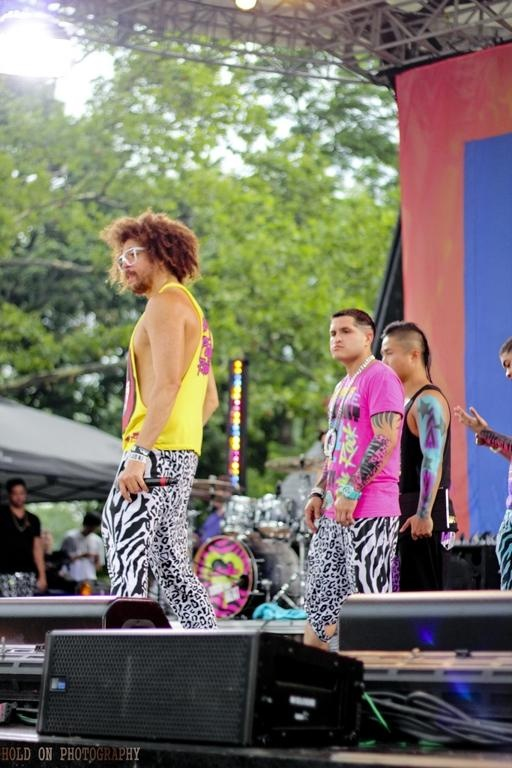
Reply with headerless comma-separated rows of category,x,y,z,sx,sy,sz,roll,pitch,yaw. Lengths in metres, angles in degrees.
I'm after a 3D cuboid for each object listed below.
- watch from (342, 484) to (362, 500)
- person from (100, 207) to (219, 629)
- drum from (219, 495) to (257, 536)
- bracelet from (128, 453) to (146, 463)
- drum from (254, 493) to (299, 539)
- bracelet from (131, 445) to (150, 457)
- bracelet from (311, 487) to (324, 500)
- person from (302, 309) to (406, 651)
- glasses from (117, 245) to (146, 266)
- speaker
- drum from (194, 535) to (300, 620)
watch,0.321,0.364,3.469,0.064,0.053,0.022,4,0,3
person,-0.310,0.097,3.369,0.463,1.356,0.792,5,0,-9
drum,-0.136,1.134,8.937,0.392,0.308,0.363,2,3,0
bracelet,-0.366,0.226,3.153,0.057,0.031,0.040,3,0,-2
drum,0.177,1.152,8.826,0.390,0.383,0.393,4,0,-3
bracelet,-0.355,0.203,3.166,0.049,0.022,0.034,18,-3,-24
bracelet,0.236,0.422,3.961,0.055,0.040,0.048,14,-13,15
person,0.354,0.347,3.668,0.337,1.222,0.603,5,0,3
glasses,-0.426,-0.436,3.527,0.084,0.022,0.078,18,-24,-32
speaker,-0.131,0.572,1.987,0.635,0.230,0.328,3,0,9
drum,-0.079,1.605,8.696,0.655,0.620,0.732,7,-11,-37
